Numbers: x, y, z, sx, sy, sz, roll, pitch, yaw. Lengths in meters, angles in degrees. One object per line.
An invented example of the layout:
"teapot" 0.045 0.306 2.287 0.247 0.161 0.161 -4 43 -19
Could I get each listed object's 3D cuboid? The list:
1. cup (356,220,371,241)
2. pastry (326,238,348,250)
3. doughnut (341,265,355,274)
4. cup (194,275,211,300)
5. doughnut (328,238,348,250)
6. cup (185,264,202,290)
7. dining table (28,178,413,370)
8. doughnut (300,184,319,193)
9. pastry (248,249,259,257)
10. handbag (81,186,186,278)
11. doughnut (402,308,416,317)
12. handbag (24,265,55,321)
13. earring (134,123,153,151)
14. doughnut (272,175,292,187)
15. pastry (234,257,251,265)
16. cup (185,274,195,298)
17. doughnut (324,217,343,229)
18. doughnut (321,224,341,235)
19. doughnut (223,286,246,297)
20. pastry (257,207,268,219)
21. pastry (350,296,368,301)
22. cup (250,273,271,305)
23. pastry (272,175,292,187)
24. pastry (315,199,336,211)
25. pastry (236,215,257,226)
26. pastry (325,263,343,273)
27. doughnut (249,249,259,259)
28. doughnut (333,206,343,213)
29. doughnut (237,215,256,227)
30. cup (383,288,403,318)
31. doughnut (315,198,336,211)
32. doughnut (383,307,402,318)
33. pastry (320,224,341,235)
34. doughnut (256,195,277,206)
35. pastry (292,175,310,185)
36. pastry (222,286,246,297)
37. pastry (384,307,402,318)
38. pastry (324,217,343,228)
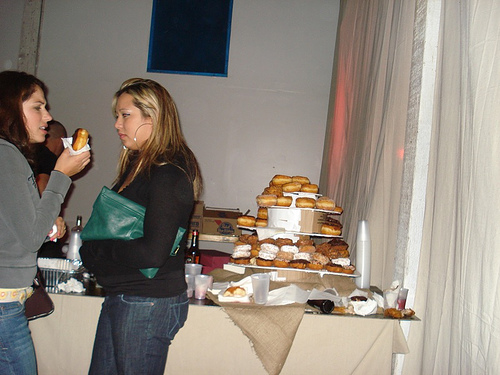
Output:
"cup" 0.750 0.295 2.568 0.108 0.134 0.112 -2 0 0
"pastry" 0.656 0.428 2.811 0.088 0.027 0.088 -11 14 -36
"doughnut" 0.633 0.529 2.428 0.098 0.051 0.043 1 7 -32
"cup" -0.263 0.548 2.068 0.090 0.126 0.071 4 6 -8
"doughnut" 0.657 0.428 2.815 0.095 0.031 0.098 -2 2 -9
"cup" -0.337 0.528 2.270 0.122 0.176 0.136 1 1 -11
"dining table" 0.155 0.640 2.585 1.391 0.727 1.449 0 10 3
"doughnut" 0.484 0.009 2.933 0.182 0.065 0.107 0 7 -37
"pastry" 0.025 0.452 2.587 0.048 0.034 0.058 0 2 -1
"handbag" -0.449 0.167 1.540 0.386 0.300 0.117 30 12 15
"doughnut" 0.840 0.664 1.994 0.049 0.039 0.018 -7 -24 -13
"handbag" -0.919 0.501 1.643 0.102 0.166 0.056 1 7 -29
"earring" -0.455 -0.216 1.585 0.066 0.115 0.047 7 6 23
"doughnut" 0.251 -0.050 3.010 0.112 0.062 0.090 -5 -1 8
"pastry" -0.051 0.501 2.573 0.102 0.049 0.062 4 6 -8
"cup" -0.336 0.544 2.095 0.047 0.124 0.084 3 6 -13
"doughnut" 0.655 0.254 2.976 0.110 0.035 0.112 17 -3 34
"doughnut" 0.592 0.312 2.763 0.080 0.034 0.083 13 -2 -21
"doughnut" -0.085 0.579 2.073 0.095 0.039 0.122 9 7 38
"pastry" 0.097 0.204 3.009 0.056 0.097 0.105 3 6 -15
"pastry" 0.601 0.620 2.076 0.087 0.019 0.053 6 6 15
"cup" 0.056 0.550 2.046 0.125 0.169 0.148 0 -7 17
"pastry" 0.250 -0.049 2.998 0.111 0.062 0.089 -5 0 8
"pastry" 0.562 0.134 2.807 0.167 0.095 0.145 4 6 -4
"pastry" -0.017 0.266 3.053 0.093 0.053 0.094 4 2 36
"pastry" 0.540 0.519 2.427 0.110 0.055 0.056 6 6 15
"doughnut" 0.026 0.459 2.591 0.054 0.033 0.050 -22 -19 36
"doughnut" 0.719 0.181 3.099 0.065 0.026 0.066 -6 14 -34
"doughnut" -0.026 0.274 3.054 0.095 0.063 0.101 3 -8 -12
"cup" 0.815 0.644 2.128 0.092 0.158 0.094 7 -5 1
"doughnut" 0.549 0.127 2.821 0.096 0.057 0.100 6 1 -9
"doughnut" 0.761 0.672 2.013 0.058 0.024 0.043 7 -4 -42
"pastry" 0.589 0.315 2.765 0.083 0.034 0.085 9 -2 -28
"doughnut" 0.128 0.087 2.858 0.091 0.039 0.096 -5 8 -39
"pastry" 0.413 -0.060 3.112 0.148 0.054 0.146 4 1 -4
"pastry" -0.087 0.578 2.075 0.127 0.039 0.092 -1 8 -44
"pastry" 0.758 0.673 2.014 0.046 0.027 0.065 3 -4 42
"pastry" 0.653 0.277 2.980 0.097 0.031 0.103 21 -2 29
